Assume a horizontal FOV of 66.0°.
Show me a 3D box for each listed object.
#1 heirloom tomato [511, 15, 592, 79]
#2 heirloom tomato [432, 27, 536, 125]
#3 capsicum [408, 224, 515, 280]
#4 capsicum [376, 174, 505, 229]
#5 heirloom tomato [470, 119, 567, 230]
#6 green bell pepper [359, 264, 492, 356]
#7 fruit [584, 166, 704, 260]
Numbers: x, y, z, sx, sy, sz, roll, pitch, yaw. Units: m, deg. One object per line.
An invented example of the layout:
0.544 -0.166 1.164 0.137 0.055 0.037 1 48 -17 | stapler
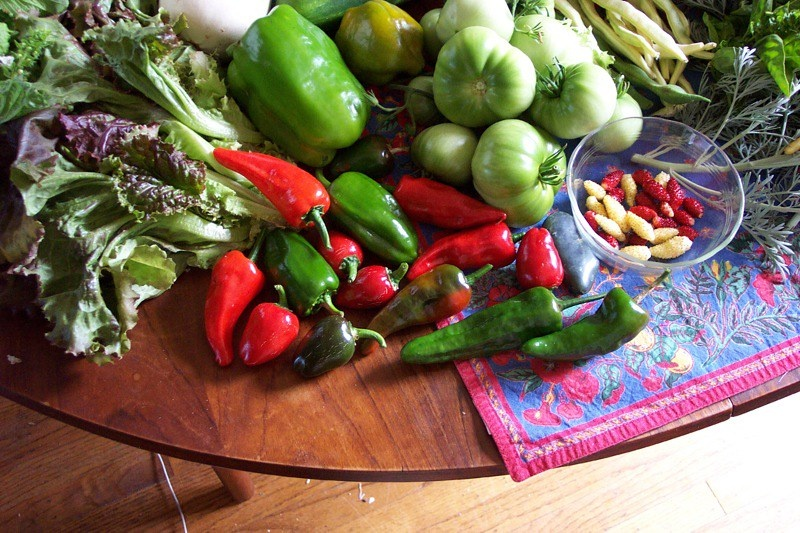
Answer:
0.343 -0.519 1.474 0.179 0.106 0.115 29 92 -7 | heirloom tomato
0.174 -0.420 1.306 0.213 0.212 0.126 18 17 10 | heirloom tomato
0.150 -0.026 1.433 0.238 0.096 0.115 -22 67 -5 | capsicum
0.106 -0.137 1.459 0.307 0.103 0.106 17 72 15 | capsicum
0.277 -0.241 1.454 0.215 0.218 0.228 -8 43 25 | heirloom tomato
0.053 0.075 1.352 0.341 0.107 0.111 -26 51 -2 | green bell pepper
0.538 -0.119 1.423 0.230 0.079 0.209 8 61 5 | fruit
